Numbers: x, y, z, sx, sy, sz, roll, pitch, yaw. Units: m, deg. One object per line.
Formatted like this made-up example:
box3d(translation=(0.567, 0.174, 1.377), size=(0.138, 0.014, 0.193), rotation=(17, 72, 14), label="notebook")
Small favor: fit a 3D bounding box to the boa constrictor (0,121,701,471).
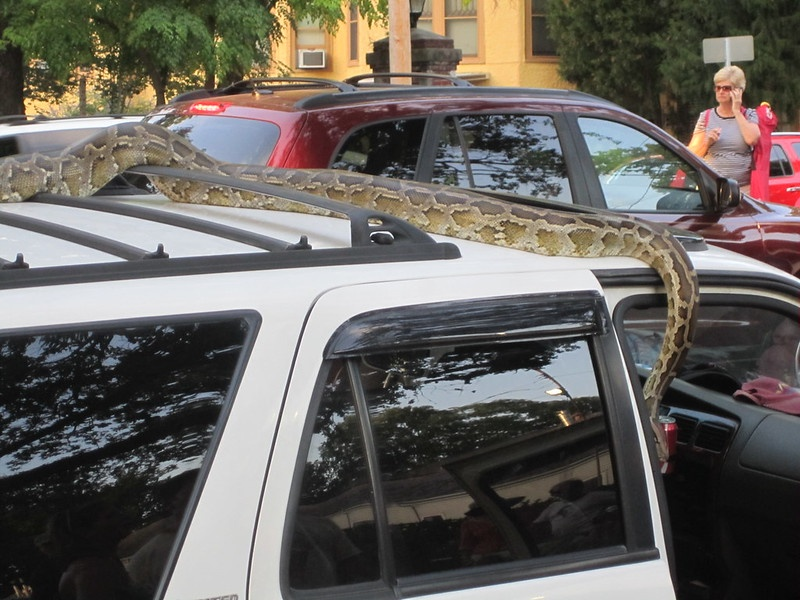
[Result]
box3d(translation=(-0.418, -0.368, 3.495), size=(2.744, 0.436, 2.150), rotation=(12, 7, 2), label="boa constrictor")
